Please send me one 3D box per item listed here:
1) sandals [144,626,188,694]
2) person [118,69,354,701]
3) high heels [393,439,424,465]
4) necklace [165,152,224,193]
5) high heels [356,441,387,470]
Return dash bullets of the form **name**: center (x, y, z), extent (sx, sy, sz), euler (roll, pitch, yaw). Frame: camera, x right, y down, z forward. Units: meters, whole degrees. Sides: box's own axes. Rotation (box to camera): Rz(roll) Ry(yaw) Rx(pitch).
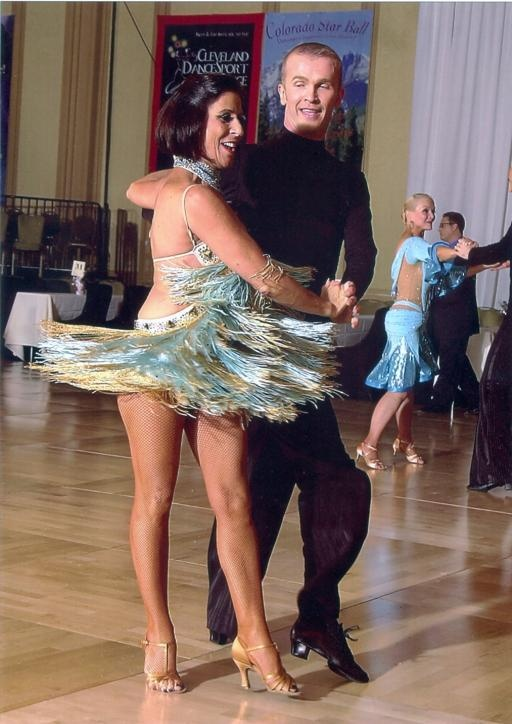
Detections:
- **sandals**: center (-0.188, 0.600, 1.277), extent (0.059, 0.063, 0.161), euler (-1, 2, -15)
- **person**: center (-0.048, 0.086, 1.231), extent (0.414, 1.168, 0.381), euler (7, -5, -25)
- **high heels**: center (1.195, 0.696, 4.999), extent (0.353, 0.150, 0.122), euler (10, 13, 41)
- **necklace**: center (-0.109, -0.332, 1.169), extent (0.096, 0.052, 0.074), euler (34, 19, 9)
- **high heels**: center (0.848, 0.689, 4.710), extent (0.321, 0.148, 0.112), euler (21, 21, 40)
